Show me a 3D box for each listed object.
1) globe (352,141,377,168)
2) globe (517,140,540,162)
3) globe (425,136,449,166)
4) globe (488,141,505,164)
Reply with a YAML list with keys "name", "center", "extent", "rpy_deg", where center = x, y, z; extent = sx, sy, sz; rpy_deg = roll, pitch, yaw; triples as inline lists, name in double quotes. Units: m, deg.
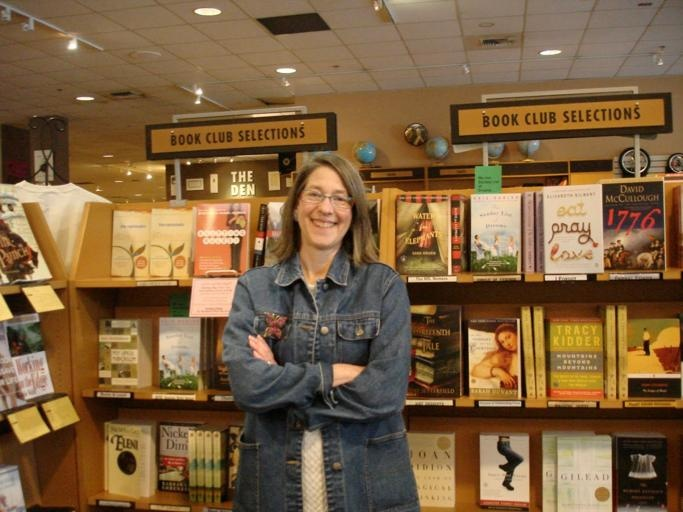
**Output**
- name: "globe"
  center: [0.418, -1.597, 9.521]
  extent: [0.381, 0.338, 0.383]
  rpy_deg: [-5, -3, -31]
- name: "globe"
  center: [2.828, -1.591, 9.106]
  extent: [0.298, 0.339, 0.417]
  rpy_deg: [0, -2, 25]
- name: "globe"
  center: [1.475, -1.621, 9.312]
  extent: [0.391, 0.342, 0.215]
  rpy_deg: [8, -9, -1]
- name: "globe"
  center: [2.306, -1.582, 8.921]
  extent: [0.231, 0.324, 1.050]
  rpy_deg: [0, -2, 14]
